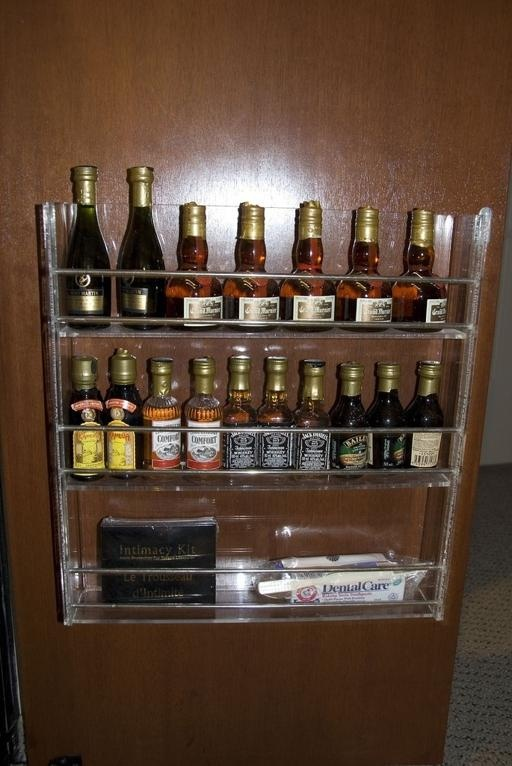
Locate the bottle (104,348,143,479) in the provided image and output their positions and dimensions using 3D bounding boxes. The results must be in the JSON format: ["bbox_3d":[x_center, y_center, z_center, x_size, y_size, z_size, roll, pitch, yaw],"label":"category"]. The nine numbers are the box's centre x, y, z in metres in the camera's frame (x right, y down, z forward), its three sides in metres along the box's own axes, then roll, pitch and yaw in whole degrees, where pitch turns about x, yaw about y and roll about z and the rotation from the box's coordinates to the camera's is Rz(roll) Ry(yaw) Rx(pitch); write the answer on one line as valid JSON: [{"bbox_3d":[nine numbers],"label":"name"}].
[{"bbox_3d":[-0.195,0.051,0.943,0.057,0.196,0.199,-1,11,-12],"label":"bottle"}]

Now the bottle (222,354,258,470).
[{"bbox_3d":[-0.024,0.041,0.969,0.052,0.166,0.162,0,11,-3],"label":"bottle"}]

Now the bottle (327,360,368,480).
[{"bbox_3d":[0.166,0.064,0.996,0.076,0.186,0.075,-2,-3,0],"label":"bottle"}]

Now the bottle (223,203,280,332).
[{"bbox_3d":[-0.007,-0.168,0.934,0.083,0.181,0.182,1,11,1],"label":"bottle"}]

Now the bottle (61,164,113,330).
[{"bbox_3d":[-0.240,-0.191,0.902,0.065,0.224,0.175,-2,11,-13],"label":"bottle"}]

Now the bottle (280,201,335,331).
[{"bbox_3d":[0.078,-0.171,0.937,0.081,0.187,0.183,1,11,2],"label":"bottle"}]

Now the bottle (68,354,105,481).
[{"bbox_3d":[-0.250,0.056,0.942,0.051,0.186,0.171,-2,11,-14],"label":"bottle"}]

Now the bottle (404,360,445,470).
[{"bbox_3d":[0.262,0.050,0.986,0.061,0.164,0.170,4,11,15],"label":"bottle"}]

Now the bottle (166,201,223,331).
[{"bbox_3d":[-0.090,-0.168,0.925,0.082,0.176,0.186,0,11,-8],"label":"bottle"}]

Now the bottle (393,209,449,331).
[{"bbox_3d":[0.243,-0.164,0.940,0.083,0.180,0.181,4,11,15],"label":"bottle"}]

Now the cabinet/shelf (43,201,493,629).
[{"bbox_3d":[0.002,0.034,0.981,0.656,0.731,0.233,-2,26,-5],"label":"cabinet/shelf"}]

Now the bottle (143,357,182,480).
[{"bbox_3d":[-0.139,0.046,0.949,0.057,0.161,0.180,0,11,-7],"label":"bottle"}]

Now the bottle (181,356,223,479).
[{"bbox_3d":[-0.080,0.042,0.959,0.057,0.166,0.172,0,11,-6],"label":"bottle"}]

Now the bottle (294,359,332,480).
[{"bbox_3d":[0.088,0.050,0.963,0.055,0.161,0.158,2,11,4],"label":"bottle"}]

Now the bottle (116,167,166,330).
[{"bbox_3d":[-0.167,-0.193,0.919,0.073,0.224,0.183,-1,11,-9],"label":"bottle"}]

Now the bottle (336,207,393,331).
[{"bbox_3d":[0.162,-0.167,0.944,0.082,0.180,0.180,2,11,7],"label":"bottle"}]

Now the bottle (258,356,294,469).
[{"bbox_3d":[0.030,0.045,0.978,0.066,0.176,0.068,0,9,0],"label":"bottle"}]
